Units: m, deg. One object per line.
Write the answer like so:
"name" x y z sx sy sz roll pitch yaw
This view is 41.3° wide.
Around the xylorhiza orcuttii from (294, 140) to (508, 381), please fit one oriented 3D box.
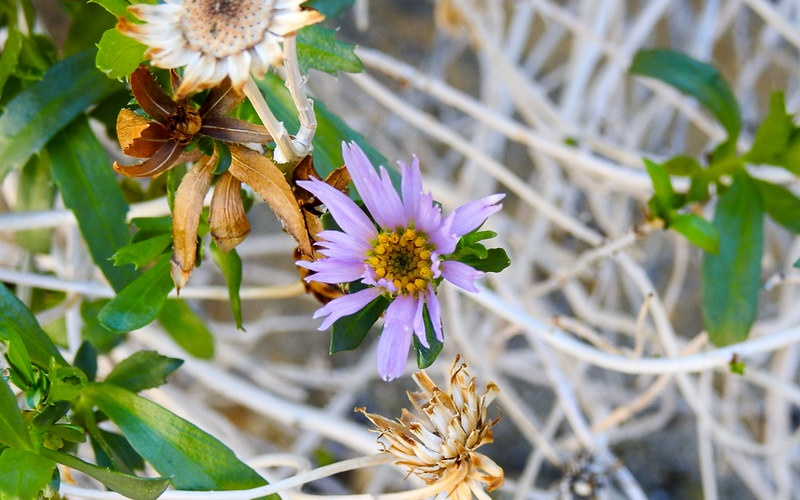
"xylorhiza orcuttii" -0.017 0.004 1.146 0.220 0.159 0.214 35 68 14
